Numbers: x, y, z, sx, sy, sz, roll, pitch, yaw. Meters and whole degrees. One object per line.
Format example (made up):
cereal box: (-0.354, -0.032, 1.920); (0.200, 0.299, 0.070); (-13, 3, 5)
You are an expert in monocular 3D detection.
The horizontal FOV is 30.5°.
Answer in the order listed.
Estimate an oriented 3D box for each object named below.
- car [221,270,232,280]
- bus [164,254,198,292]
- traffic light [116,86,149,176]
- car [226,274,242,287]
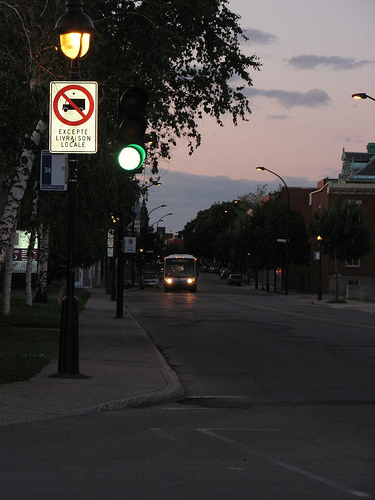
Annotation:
car: (5.994, 3.420, 105.222); (1.174, 1.166, 2.107); (0, 4, 6)
bus: (-0.662, 2.738, 62.266); (3.220, 3.698, 6.358); (1, -16, 2)
traffic light: (-0.711, -1.682, 8.869); (0.400, 1.303, 0.929); (1, -4, -5)
car: (5.817, 3.441, 85.613); (1.626, 1.398, 2.541); (0, -4, 0)
